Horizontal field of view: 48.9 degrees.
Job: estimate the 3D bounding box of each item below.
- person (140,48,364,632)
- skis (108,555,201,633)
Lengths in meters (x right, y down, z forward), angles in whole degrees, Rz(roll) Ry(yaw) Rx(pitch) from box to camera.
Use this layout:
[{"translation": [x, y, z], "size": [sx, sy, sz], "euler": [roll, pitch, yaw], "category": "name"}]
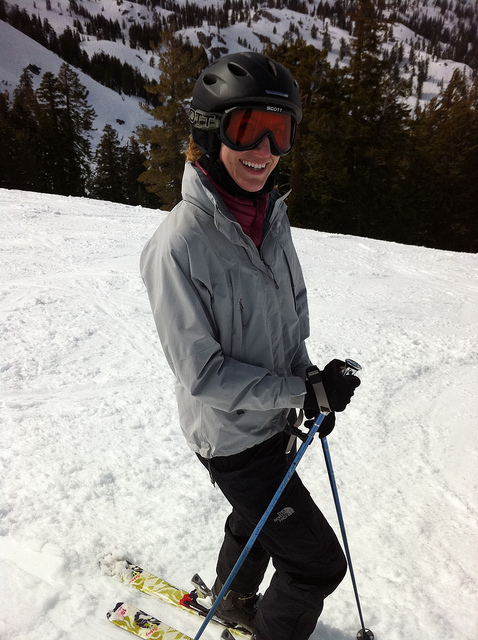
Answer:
[{"translation": [0.053, 0.113, 2.372], "size": [0.931, 2.483, 1.090], "euler": [-1, 20, -21], "category": "person"}, {"translation": [-0.537, 1.553, 2.964], "size": [0.685, 0.127, 0.201], "euler": [24, 36, 12], "category": "skis"}]
